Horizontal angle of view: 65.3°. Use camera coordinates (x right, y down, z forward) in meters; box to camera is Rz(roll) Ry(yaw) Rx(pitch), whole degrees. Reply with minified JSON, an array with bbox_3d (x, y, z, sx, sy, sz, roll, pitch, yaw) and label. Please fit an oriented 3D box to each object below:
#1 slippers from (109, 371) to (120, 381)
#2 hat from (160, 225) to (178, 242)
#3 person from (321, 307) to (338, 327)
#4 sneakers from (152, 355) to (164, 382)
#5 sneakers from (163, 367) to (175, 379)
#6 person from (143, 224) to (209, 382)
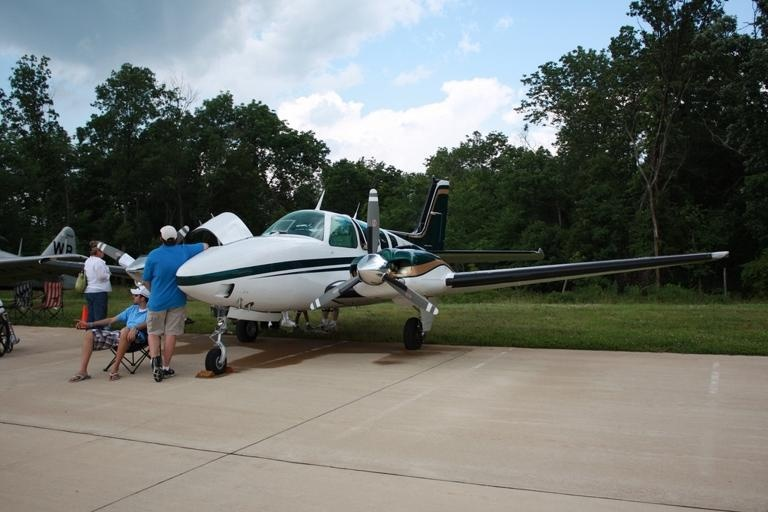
[{"bbox_3d":[-4.706,2.048,10.480,0.183,0.141,0.398,-5,10,-24],"label":"slippers"},{"bbox_3d":[-3.876,-0.443,10.782,0.297,0.224,0.421,-3,28,-10],"label":"hat"},{"bbox_3d":[-1.211,1.353,13.463,0.272,0.658,0.967,6,-4,2],"label":"person"},{"bbox_3d":[-3.853,1.894,10.240,0.172,0.426,0.202,1,-3,-14],"label":"sneakers"},{"bbox_3d":[-3.745,2.009,10.423,0.101,0.118,0.238,3,0,11],"label":"sneakers"},{"bbox_3d":[-3.756,0.958,10.550,0.588,2.218,1.152,3,11,21],"label":"person"}]
